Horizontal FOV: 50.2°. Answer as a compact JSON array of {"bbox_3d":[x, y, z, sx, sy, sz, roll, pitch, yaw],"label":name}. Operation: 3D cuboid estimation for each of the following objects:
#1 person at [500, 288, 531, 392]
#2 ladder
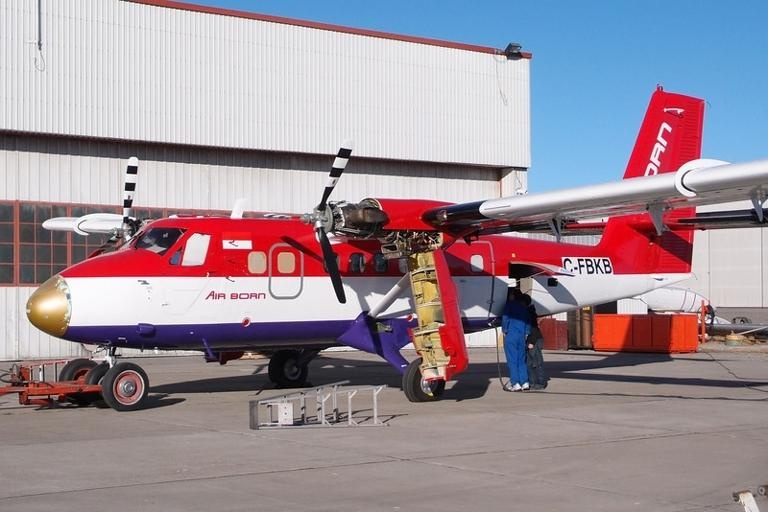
[{"bbox_3d":[3.104,2.052,20.411,0.997,2.392,0.957,-4,-13,36],"label":"person"},{"bbox_3d":[-1.334,3.015,17.596,2.747,0.918,4.028,0,-1,-1],"label":"ladder"}]
